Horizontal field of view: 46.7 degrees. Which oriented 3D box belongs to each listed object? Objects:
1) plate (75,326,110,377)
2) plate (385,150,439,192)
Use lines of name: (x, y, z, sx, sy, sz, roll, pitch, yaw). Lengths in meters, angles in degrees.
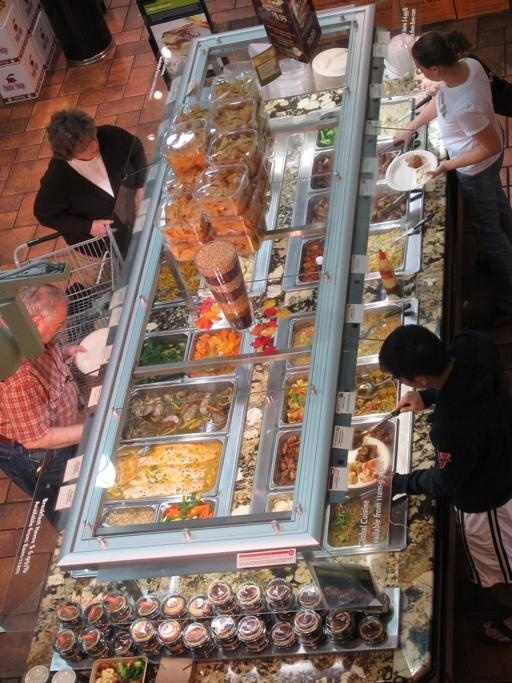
plate: (-0.666, 0.044, 2.369, 0.203, 0.040, 0.187, -28, 44, 28)
plate: (0.847, -0.933, 3.227, 0.289, 0.042, 0.243, 6, 69, 9)
